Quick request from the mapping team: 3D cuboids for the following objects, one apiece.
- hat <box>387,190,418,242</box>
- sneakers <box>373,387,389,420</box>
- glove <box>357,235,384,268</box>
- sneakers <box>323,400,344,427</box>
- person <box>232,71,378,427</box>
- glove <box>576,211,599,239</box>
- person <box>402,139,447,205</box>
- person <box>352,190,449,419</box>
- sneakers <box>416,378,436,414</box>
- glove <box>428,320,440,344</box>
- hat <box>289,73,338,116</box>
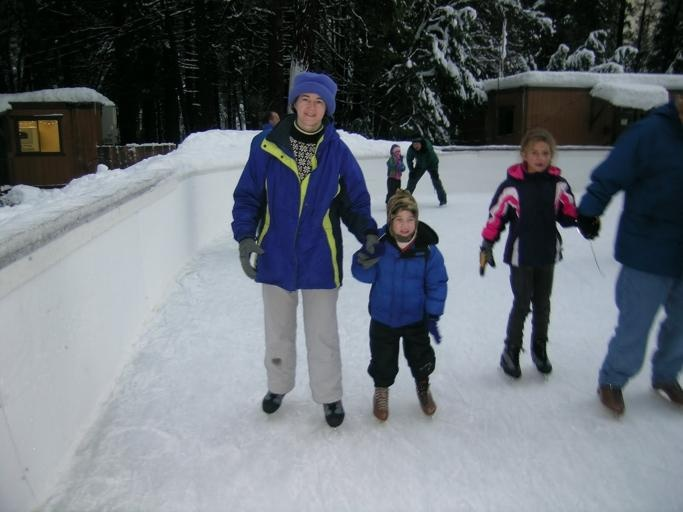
[{"bbox_3d":[0.430,-0.299,3.874,0.204,0.367,0.389,0,15,4],"label":"hat"},{"bbox_3d":[0.283,1.054,3.991,0.103,0.172,0.350,3,4,-1],"label":"sneakers"},{"bbox_3d":[0.174,-0.024,3.579,0.074,0.188,0.151,6,43,-33],"label":"glove"},{"bbox_3d":[-0.052,1.096,3.871,0.096,0.203,0.076,-7,-20,2],"label":"sneakers"},{"bbox_3d":[-0.251,-0.010,3.721,0.924,2.331,0.481,-1,15,-6],"label":"person"},{"bbox_3d":[1.753,-0.201,3.928,0.121,0.206,0.075,-5,0,14],"label":"glove"},{"bbox_3d":[1.760,-1.893,12.121,0.973,1.752,0.625,4,44,21],"label":"person"},{"bbox_3d":[0.382,0.388,3.875,0.598,1.588,0.583,-2,14,-1],"label":"person"},{"bbox_3d":[0.603,1.022,3.982,0.091,0.209,0.304,-9,51,3],"label":"sneakers"},{"bbox_3d":[0.634,0.526,3.845,0.088,0.164,0.041,-31,24,-13],"label":"glove"},{"bbox_3d":[-0.185,-1.027,3.616,0.223,0.224,0.287,11,9,1],"label":"hat"}]
